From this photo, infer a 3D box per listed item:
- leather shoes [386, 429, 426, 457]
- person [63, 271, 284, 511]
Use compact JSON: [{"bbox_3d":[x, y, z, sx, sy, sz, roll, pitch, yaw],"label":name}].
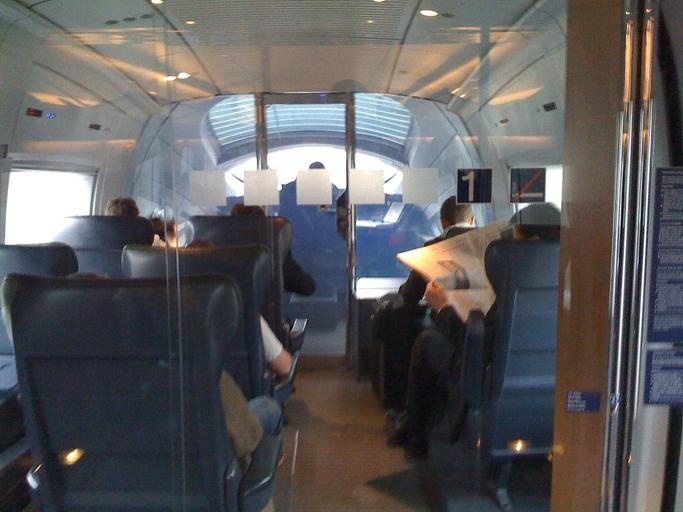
[{"bbox_3d":[0.257,0.733,2.128,0.139,0.094,0.042,5,2,-1],"label":"leather shoes"},{"bbox_3d":[-0.706,0.554,2.417,0.748,1.082,0.848,-2,-2,2],"label":"person"}]
